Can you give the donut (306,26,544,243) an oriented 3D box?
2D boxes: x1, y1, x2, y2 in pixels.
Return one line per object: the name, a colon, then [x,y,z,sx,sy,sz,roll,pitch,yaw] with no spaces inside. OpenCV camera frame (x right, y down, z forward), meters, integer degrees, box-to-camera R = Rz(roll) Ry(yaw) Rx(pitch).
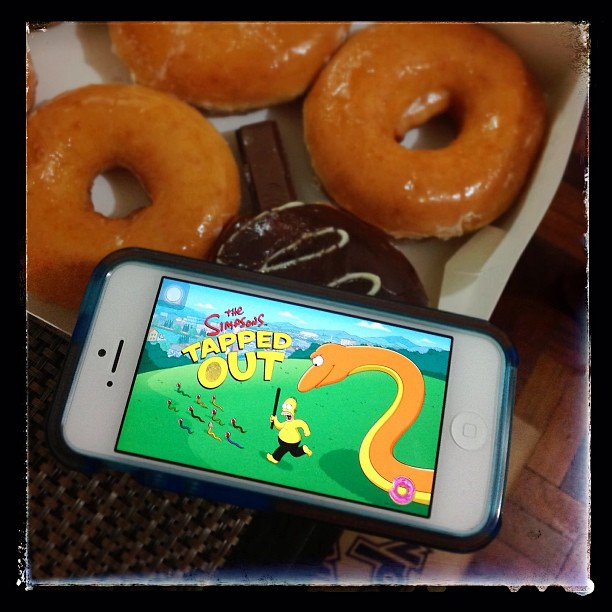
donut: [0.218,-0.349,1.068,0.437,0.164,0.435,-15,53,18]
